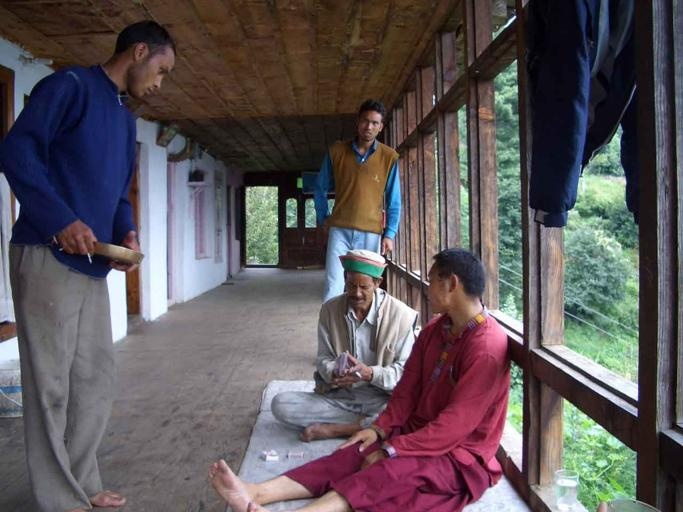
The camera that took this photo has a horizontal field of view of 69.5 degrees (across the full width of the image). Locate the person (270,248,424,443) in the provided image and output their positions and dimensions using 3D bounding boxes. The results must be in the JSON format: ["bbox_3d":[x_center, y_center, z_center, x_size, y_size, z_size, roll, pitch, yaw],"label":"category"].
[{"bbox_3d":[0.147,0.495,3.339,1.126,1.473,0.998,2,0,20],"label":"person"}]

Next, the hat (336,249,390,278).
[{"bbox_3d":[0.130,0.041,2.979,0.195,0.110,0.176,12,-3,6],"label":"hat"}]

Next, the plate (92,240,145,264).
[{"bbox_3d":[-1.032,-0.018,2.277,0.138,0.052,0.135,6,13,-29],"label":"plate"}]

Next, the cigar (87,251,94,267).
[{"bbox_3d":[-1.161,0.008,2.278,0.017,0.075,0.050,-7,20,-17],"label":"cigar"}]

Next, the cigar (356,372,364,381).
[{"bbox_3d":[0.099,0.684,2.817,0.036,0.041,0.024,1,23,24],"label":"cigar"}]
